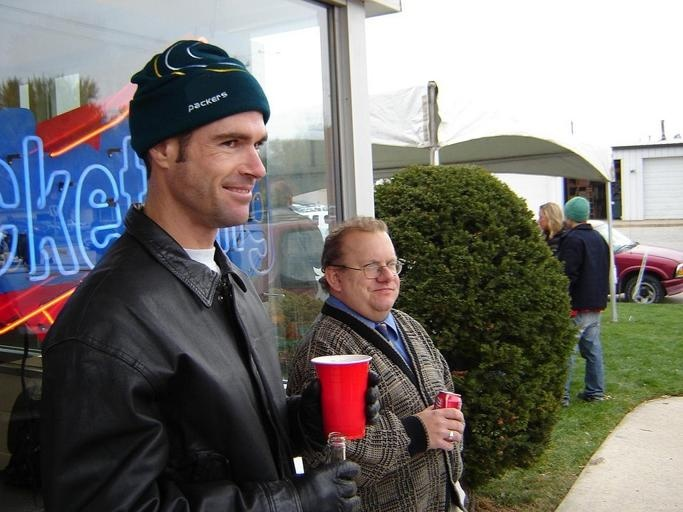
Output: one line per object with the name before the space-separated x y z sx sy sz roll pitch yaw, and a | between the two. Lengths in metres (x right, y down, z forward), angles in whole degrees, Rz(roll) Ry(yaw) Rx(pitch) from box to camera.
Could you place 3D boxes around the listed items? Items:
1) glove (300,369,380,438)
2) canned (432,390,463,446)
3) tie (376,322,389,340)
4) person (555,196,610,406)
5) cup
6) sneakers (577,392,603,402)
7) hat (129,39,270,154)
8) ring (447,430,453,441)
glove | 0.010 0.491 1.942 0.272 0.279 0.251 -3 -11 10
canned | 0.504 0.717 2.499 0.173 0.275 0.169 1 -8 11
tie | 0.194 0.360 2.708 0.062 0.068 0.078 2 -10 -10
person | 2.944 0.555 6.769 0.550 2.499 1.459 0 6 25
cup | 0.009 0.474 1.935 0.293 0.307 0.259 0 -7 -2
sneakers | 3.092 1.750 6.887 0.179 0.056 0.113 1 0 33
hat | -0.468 -0.474 1.879 0.408 0.310 0.379 -2 5 18
ring | 0.475 0.782 2.409 0.030 0.038 0.009 -5 6 -31
